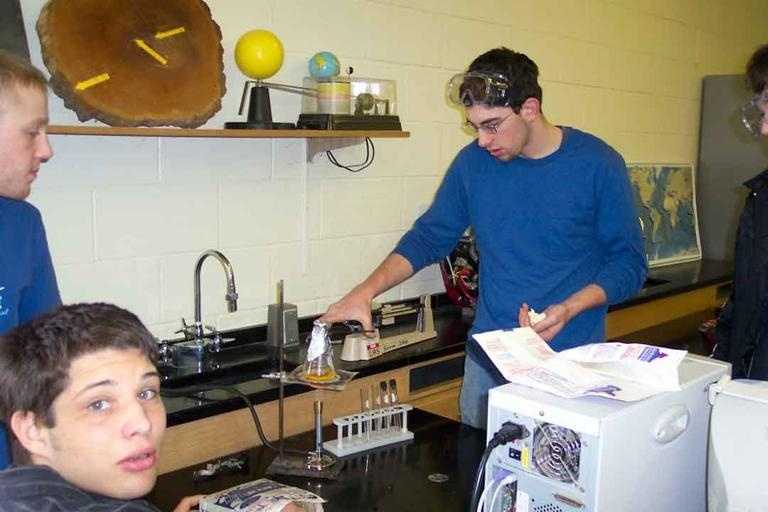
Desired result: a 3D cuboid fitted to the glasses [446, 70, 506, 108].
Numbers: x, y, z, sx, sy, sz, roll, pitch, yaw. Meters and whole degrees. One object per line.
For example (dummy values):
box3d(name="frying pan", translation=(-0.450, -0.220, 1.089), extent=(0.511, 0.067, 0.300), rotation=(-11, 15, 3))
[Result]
box3d(name="glasses", translation=(0.347, -0.618, 2.196), extent=(0.162, 0.061, 0.170), rotation=(2, 3, -39))

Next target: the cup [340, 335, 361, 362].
box3d(name="cup", translation=(-0.145, 0.427, 2.745), extent=(0.097, 0.118, 0.113), rotation=(3, -2, 26))

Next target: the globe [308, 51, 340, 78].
box3d(name="globe", translation=(-0.283, -0.907, 2.813), extent=(0.150, 0.114, 0.150), rotation=(12, 28, 21))

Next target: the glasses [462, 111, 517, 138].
box3d(name="glasses", translation=(0.385, -0.510, 2.269), extent=(0.107, 0.081, 0.212), rotation=(-8, 15, -32))
